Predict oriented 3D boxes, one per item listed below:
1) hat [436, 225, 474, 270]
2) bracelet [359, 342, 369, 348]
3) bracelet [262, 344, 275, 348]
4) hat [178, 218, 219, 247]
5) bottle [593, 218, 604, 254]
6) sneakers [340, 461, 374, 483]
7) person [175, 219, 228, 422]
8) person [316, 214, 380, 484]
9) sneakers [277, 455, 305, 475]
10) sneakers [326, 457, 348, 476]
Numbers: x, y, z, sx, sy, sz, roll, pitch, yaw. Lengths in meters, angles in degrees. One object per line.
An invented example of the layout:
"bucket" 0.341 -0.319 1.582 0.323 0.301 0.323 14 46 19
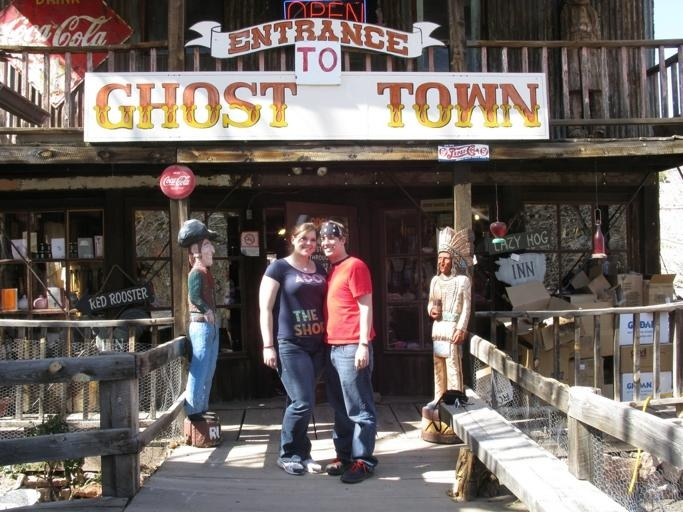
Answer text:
"hat" 1.346 -0.089 9.949 0.468 0.759 0.322 -1 -8 -3
"bracelet" 0.217 0.881 8.410 0.054 0.060 0.014 -4 -3 -13
"bracelet" -0.727 0.911 8.577 0.114 0.042 0.058 -7 10 -41
"hat" -1.645 -0.238 9.651 0.369 0.278 0.286 -14 3 -16
"bottle" 3.243 -0.224 10.676 0.125 0.449 0.221 1 6 16
"sneakers" 0.166 2.167 8.522 0.138 0.164 0.376 10 -1 39
"person" -1.596 0.701 9.516 0.391 2.168 0.503 -2 6 -12
"person" 0.059 0.956 8.562 0.576 2.560 0.498 2 6 23
"sneakers" -0.513 2.143 8.700 0.119 0.121 0.258 14 -4 -43
"sneakers" -0.050 2.146 8.647 0.094 0.126 0.274 0 2 15
